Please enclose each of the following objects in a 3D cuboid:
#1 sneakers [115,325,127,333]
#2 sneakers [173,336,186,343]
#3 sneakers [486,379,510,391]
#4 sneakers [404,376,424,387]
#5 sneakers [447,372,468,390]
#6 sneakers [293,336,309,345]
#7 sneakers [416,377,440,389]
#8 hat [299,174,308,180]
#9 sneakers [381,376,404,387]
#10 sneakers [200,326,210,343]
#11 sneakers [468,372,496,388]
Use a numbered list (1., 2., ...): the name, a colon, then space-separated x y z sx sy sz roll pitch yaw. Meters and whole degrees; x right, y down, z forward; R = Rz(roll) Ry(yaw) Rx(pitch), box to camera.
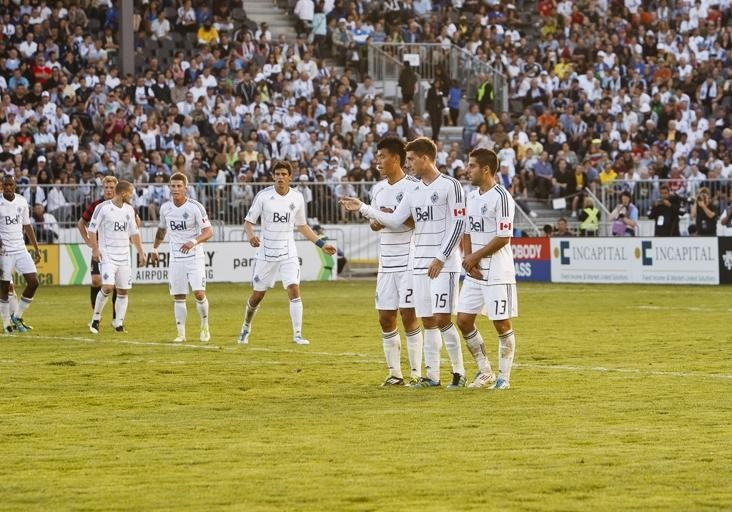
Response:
1. sneakers: -4.970 1.497 31.692 0.203 0.200 0.137 2 -40 -41
2. sneakers: -3.657 1.635 30.490 0.276 0.115 0.095 1 -1 41
3. sneakers: 2.258 2.197 26.520 0.411 0.170 0.147 1 -4 -4
4. sneakers: 0.875 2.151 26.674 0.164 0.125 0.288 -4 -9 28
5. sneakers: 1.553 2.112 26.641 0.311 0.233 0.272 -2 11 2
6. sneakers: -1.202 1.634 30.168 0.319 0.234 0.126 -3 -3 23
7. sneakers: 1.050 2.158 26.612 0.448 0.182 0.159 3 -8 -6
8. hat: -1.716 -2.192 43.390 0.263 0.184 0.661 -2 11 -2
9. sneakers: 0.470 2.140 26.744 0.428 0.178 0.144 0 -5 -6
10. sneakers: -3.159 1.518 30.509 0.185 0.279 0.417 -3 11 -6
11. sneakers: 2.023 2.132 26.696 0.549 0.231 0.195 -6 -2 -20
